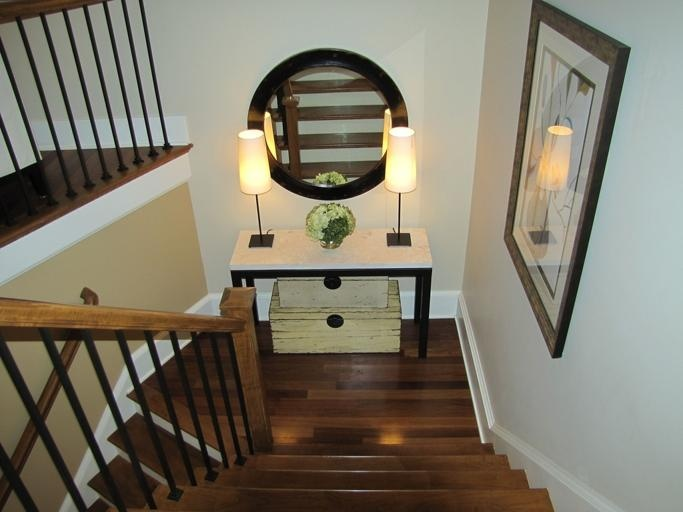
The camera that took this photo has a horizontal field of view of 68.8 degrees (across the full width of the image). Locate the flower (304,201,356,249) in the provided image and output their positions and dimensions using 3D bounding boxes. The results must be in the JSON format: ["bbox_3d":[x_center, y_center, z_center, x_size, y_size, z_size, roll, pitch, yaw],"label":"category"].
[{"bbox_3d":[-0.082,-0.229,3.683,0.315,0.282,0.322,-2,28,-1],"label":"flower"}]

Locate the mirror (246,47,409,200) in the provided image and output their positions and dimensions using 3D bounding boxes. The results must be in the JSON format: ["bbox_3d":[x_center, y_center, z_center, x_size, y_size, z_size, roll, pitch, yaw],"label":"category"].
[{"bbox_3d":[-0.108,-1.034,3.705,1.131,1.136,0.082,-2,32,1],"label":"mirror"}]

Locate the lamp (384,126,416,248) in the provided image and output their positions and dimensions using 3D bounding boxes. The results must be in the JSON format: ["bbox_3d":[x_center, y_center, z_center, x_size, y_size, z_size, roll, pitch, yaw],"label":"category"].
[{"bbox_3d":[0.445,-0.508,3.780,0.226,0.901,0.444,3,15,8],"label":"lamp"}]
